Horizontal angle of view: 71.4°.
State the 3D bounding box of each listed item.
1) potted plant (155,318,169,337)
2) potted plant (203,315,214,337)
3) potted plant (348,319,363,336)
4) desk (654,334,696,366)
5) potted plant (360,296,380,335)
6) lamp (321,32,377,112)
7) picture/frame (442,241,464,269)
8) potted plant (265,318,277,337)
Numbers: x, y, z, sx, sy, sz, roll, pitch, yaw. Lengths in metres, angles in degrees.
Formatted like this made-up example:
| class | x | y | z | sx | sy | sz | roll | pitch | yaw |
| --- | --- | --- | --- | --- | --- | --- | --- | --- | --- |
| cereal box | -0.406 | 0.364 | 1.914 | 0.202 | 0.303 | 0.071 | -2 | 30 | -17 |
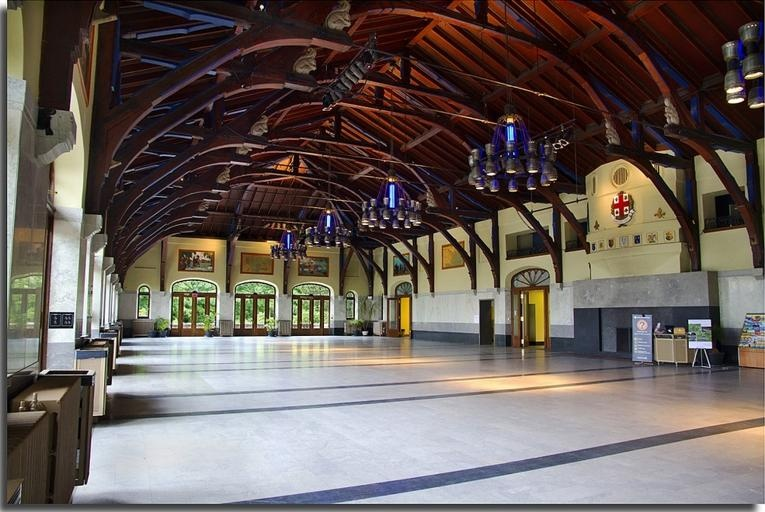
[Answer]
| class | x | y | z | sx | sy | sz | roll | pitch | yaw |
| --- | --- | --- | --- | --- | --- | --- | --- | --- | --- |
| potted plant | -12.908 | 4.161 | 31.058 | 1.060 | 1.114 | 0.917 | 5 | -18 | -21 |
| potted plant | -10.574 | 4.226 | 32.311 | 0.576 | 1.272 | 1.127 | 2 | -8 | -19 |
| potted plant | -1.841 | 4.769 | 35.562 | 1.085 | 1.028 | 0.953 | 0 | -11 | -11 |
| desk | 8.601 | 2.645 | 15.957 | 0.815 | 1.147 | 1.229 | 1 | -7 | 2 |
| potted plant | -0.933 | 3.927 | 35.509 | 0.785 | 2.523 | 2.071 | 2 | -8 | -25 |
| lamp | -0.761 | -4.026 | 11.426 | 0.597 | 0.782 | 2.617 | 1 | -8 | -17 |
| picture/frame | 3.598 | -0.069 | 27.258 | 0.111 | 1.017 | 1.470 | -1 | -3 | -26 |
| potted plant | -6.939 | 4.638 | 34.158 | 0.989 | 1.099 | 0.909 | 5 | -18 | -17 |
